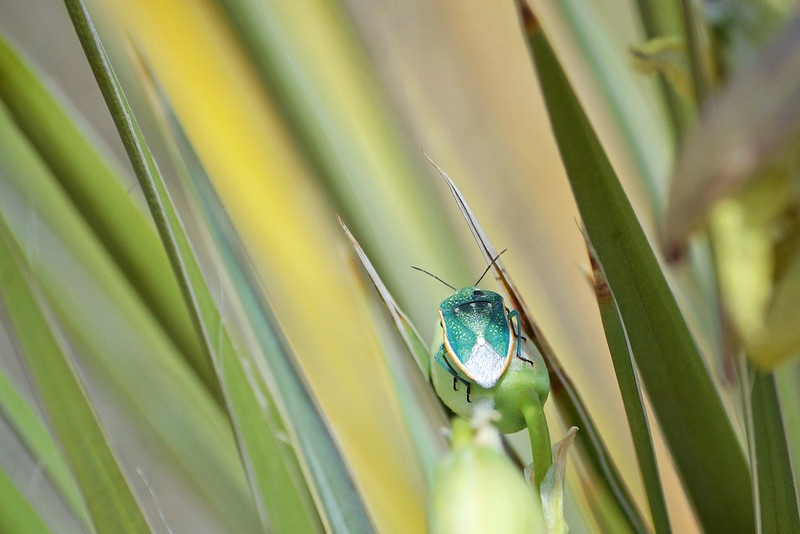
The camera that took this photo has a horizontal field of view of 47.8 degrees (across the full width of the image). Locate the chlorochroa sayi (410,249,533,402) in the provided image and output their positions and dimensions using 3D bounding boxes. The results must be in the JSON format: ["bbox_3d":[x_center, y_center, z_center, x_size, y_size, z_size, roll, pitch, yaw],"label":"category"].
[{"bbox_3d":[0.055,0.042,0.676,0.075,0.139,0.035,-8,-53,4],"label":"chlorochroa sayi"}]
